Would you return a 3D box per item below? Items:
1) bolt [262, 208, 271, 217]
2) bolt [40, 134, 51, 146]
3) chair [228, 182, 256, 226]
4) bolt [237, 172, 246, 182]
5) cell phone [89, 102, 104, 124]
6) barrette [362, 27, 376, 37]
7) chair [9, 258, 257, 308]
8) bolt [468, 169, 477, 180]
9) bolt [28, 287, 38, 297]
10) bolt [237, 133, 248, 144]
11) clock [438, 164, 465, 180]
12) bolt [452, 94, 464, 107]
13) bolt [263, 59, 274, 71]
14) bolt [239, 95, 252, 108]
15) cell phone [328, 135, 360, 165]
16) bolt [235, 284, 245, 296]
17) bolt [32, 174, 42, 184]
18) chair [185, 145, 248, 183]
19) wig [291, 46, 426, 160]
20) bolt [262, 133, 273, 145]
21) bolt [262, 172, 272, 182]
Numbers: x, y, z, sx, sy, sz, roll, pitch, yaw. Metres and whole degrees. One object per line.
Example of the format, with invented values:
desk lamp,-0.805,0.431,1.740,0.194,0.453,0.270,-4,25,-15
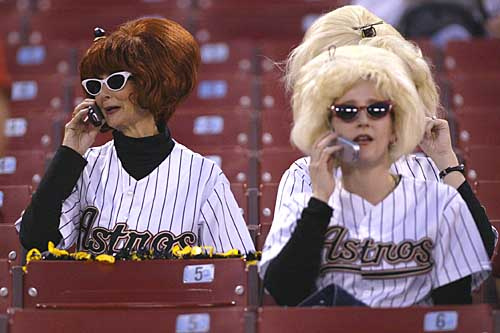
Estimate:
bolt,0.094,0.271,6.804,0.041,0.042,0.023,0,-13,9
bolt,-1.345,-0.175,7.463,0.072,0.072,0.018,0,-3,12
chair,-0.028,0.229,6.824,0.174,0.325,0.235,-2,11,4
bolt,-0.060,0.065,7.140,0.052,0.062,0.023,1,-3,-6
cell phone,-0.816,-0.279,6.035,0.019,0.083,0.082,-21,12,-11
barrette,0.634,-0.720,6.114,0.064,0.048,0.065,-9,13,-29
chair,-0.577,0.578,5.685,1.216,0.256,0.154,1,-3,1
bolt,1.380,0.048,7.117,0.041,0.061,0.068,-1,-4,33
bolt,-1.079,0.618,5.642,0.047,0.048,0.005,0,-3,8
bolt,-0.056,-0.183,7.405,0.067,0.071,0.018,1,-3,-5
clock,1.059,0.021,6.025,0.084,0.037,0.086,-22,-3,33
bolt,1.392,-0.441,7.644,0.071,0.072,0.017,8,-15,8
bolt,0.122,-0.711,8.022,0.071,0.072,0.017,-7,-11,-9
bolt,-0.039,-0.438,7.689,0.075,0.075,0.017,-2,-11,-5
cell phone,0.474,-0.081,5.702,0.163,0.139,0.087,-1,-3,28
bolt,-0.055,0.610,5.638,0.043,0.043,0.024,11,0,-3
bolt,-1.353,0.077,7.189,0.060,0.063,0.031,0,-3,11
chair,-0.217,-0.020,7.195,0.404,0.227,0.391,1,2,-3
wig,0.540,-0.321,5.776,0.678,0.567,0.202,1,-3,5
bolt,0.105,-0.177,7.420,0.068,0.065,0.015,-2,-10,-5
bolt,0.100,0.064,7.128,0.061,0.062,0.015,1,-3,-6
